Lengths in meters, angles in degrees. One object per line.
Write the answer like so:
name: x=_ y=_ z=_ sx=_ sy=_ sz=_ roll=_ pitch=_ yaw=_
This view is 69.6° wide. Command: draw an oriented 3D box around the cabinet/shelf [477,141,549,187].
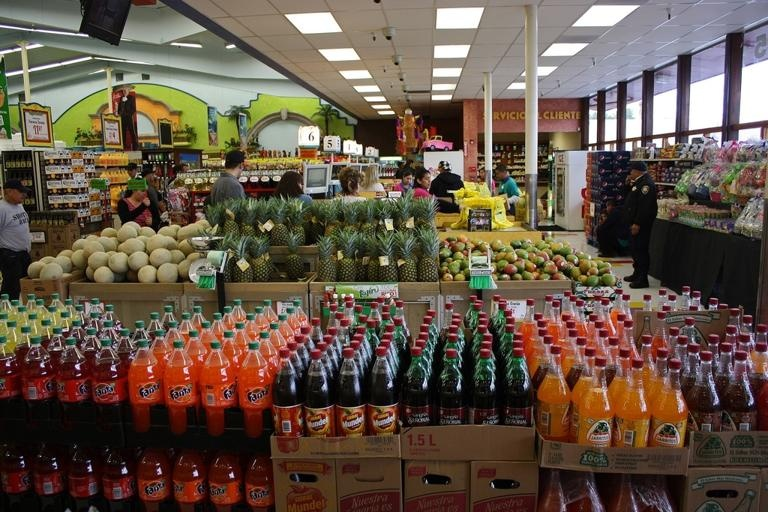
cabinet/shelf: x=4.893 y=-3.404 z=19.668 sx=1.864 sy=1.949 sz=3.083 roll=1 pitch=9 yaw=2

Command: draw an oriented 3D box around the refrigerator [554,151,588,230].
refrigerator: x=4.896 y=-1.733 z=14.585 sx=0.487 sy=2.033 sz=1.203 roll=-5 pitch=9 yaw=-15

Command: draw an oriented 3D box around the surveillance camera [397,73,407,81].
surveillance camera: x=0.445 y=-4.225 z=12.957 sx=0.194 sy=0.213 sz=0.197 roll=-1 pitch=4 yaw=6

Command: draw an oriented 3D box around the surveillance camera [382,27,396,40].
surveillance camera: x=0.111 y=-3.623 z=8.974 sx=0.170 sy=0.160 sz=0.177 roll=-1 pitch=2 yaw=-15

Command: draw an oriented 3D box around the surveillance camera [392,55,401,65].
surveillance camera: x=0.278 y=-3.915 z=10.971 sx=0.114 sy=0.138 sz=0.118 roll=-1 pitch=-4 yaw=-4

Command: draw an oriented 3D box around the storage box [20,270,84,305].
storage box: x=-2.569 y=0.234 z=4.393 sx=0.467 sy=0.242 sz=0.352 roll=-1 pitch=11 yaw=4

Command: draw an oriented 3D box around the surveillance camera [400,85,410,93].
surveillance camera: x=0.608 y=-4.571 z=15.094 sx=0.179 sy=0.173 sz=0.180 roll=-3 pitch=16 yaw=-6

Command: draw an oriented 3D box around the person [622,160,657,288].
person: x=3.908 y=-0.459 z=8.320 sx=0.437 sy=1.903 sz=0.510 roll=-1 pitch=12 yaw=-8

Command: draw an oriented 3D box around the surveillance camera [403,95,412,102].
surveillance camera: x=0.792 y=-4.961 z=17.472 sx=0.181 sy=0.205 sz=0.180 roll=-8 pitch=-13 yaw=-5

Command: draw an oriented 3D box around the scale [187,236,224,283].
scale: x=-1.355 y=0.029 z=4.226 sx=0.289 sy=0.342 sz=0.664 roll=-5 pitch=10 yaw=-18
